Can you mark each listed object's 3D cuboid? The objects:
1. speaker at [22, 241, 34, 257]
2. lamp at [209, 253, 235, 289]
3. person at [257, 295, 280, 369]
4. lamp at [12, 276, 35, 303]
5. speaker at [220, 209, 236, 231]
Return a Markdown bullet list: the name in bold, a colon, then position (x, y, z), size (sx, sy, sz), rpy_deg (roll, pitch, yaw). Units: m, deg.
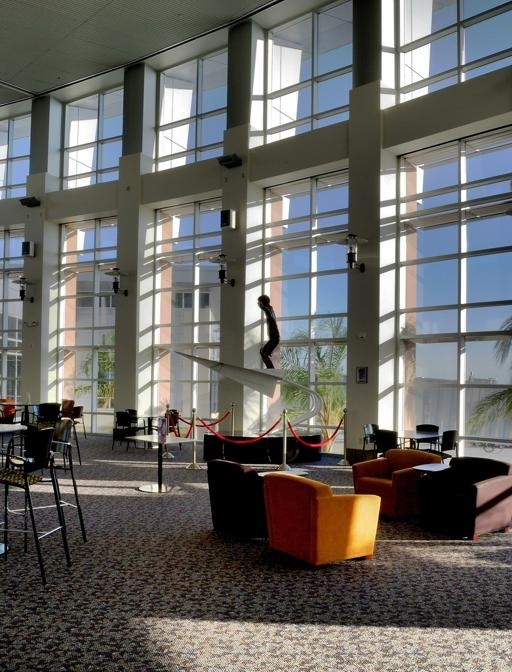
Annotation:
- **speaker**: position (-5.746, -2.193, 16.243), size (0.352, 0.370, 0.254), rpy_deg (-1, -4, 30)
- **lamp**: position (-0.632, -1.284, 12.712), size (0.456, 0.587, 0.808), rpy_deg (1, -3, 1)
- **person**: position (0.214, -0.078, 11.464), size (0.358, 1.288, 0.854), rpy_deg (1, -4, 0)
- **lamp**: position (-5.872, -1.177, 16.363), size (0.484, 0.678, 1.774), rpy_deg (2, -3, -19)
- **speaker**: position (-0.588, -2.329, 12.890), size (0.326, 0.405, 0.216), rpy_deg (-2, -5, 37)
